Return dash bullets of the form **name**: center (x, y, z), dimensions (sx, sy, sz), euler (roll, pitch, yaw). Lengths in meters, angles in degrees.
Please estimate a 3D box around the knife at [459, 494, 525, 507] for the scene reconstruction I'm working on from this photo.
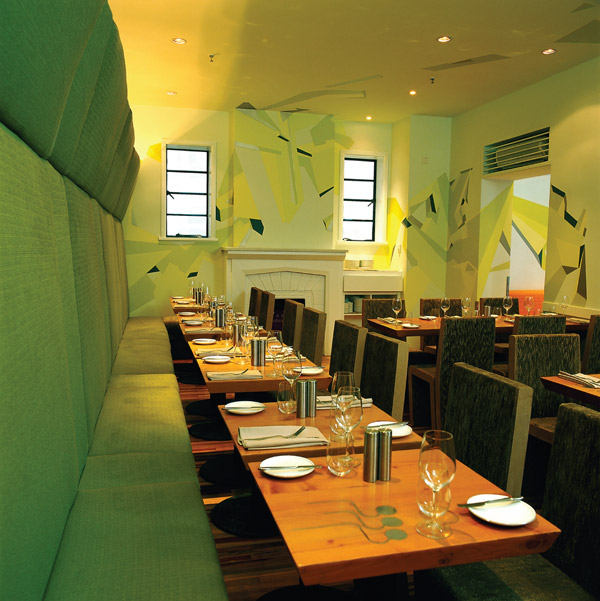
- **knife**: center (0.447, 0.475, 1.164), dimensions (0.156, 0.014, 0.033), euler (-2, 2, -18)

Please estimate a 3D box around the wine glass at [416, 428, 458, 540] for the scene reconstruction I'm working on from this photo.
- **wine glass**: center (0.306, 0.390, 1.102), dimensions (0.079, 0.205, 0.238), euler (2, 6, 17)

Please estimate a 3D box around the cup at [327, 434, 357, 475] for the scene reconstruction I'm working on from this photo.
- **cup**: center (0.096, 0.428, 1.371), dimensions (0.079, 0.128, 0.080), euler (1, -5, 0)

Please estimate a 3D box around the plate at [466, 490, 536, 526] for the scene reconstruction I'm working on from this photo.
- **plate**: center (0.461, 0.474, 1.108), dimensions (0.154, 0.041, 0.100), euler (-1, 6, -14)

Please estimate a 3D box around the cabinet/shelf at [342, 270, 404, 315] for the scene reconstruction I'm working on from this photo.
- **cabinet/shelf**: center (1.114, -0.208, 7.788), dimensions (1.049, 1.005, 0.602), euler (0, 1, -13)
